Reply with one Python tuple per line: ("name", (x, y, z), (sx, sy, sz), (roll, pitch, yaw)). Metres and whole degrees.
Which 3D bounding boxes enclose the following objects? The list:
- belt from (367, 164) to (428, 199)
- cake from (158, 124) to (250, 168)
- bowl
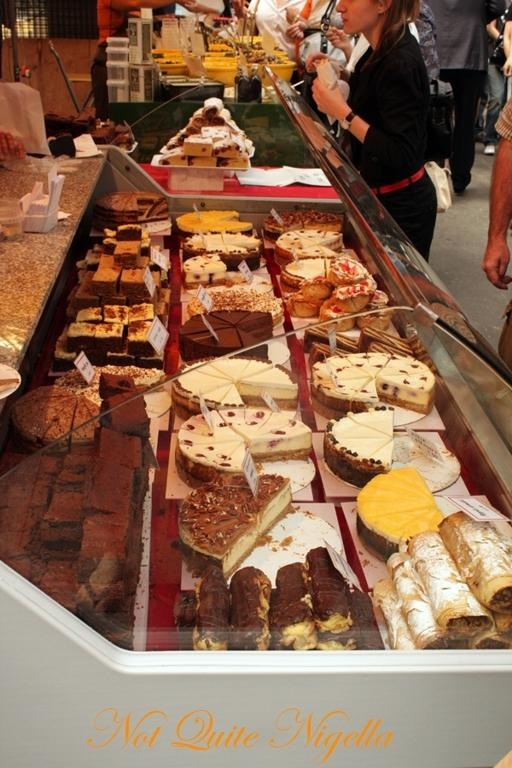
("belt", (0.688, -1.047, 2.695), (0.288, 0.195, 0.324), (-15, 31, -24))
("cake", (-0.244, -1.193, 2.655), (0.443, 0.181, 0.521), (3, 34, -1))
("bowl", (-0.315, -2.254, 3.785), (0.747, 0.237, 1.149), (-1, 27, -7))
